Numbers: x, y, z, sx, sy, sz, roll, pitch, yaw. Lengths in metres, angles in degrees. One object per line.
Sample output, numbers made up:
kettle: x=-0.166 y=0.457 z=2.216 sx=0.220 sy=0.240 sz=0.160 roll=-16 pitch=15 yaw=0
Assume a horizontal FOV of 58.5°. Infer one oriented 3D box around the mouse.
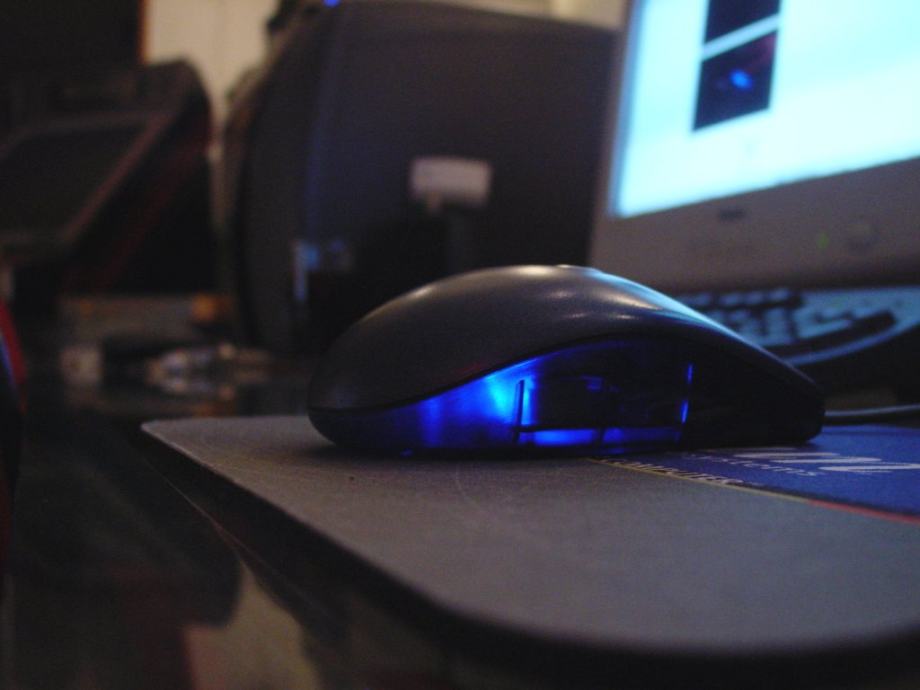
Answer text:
mouse: x=0.052 y=0.024 z=0.426 sx=0.180 sy=0.062 sz=0.113 roll=1 pitch=0 yaw=-15
